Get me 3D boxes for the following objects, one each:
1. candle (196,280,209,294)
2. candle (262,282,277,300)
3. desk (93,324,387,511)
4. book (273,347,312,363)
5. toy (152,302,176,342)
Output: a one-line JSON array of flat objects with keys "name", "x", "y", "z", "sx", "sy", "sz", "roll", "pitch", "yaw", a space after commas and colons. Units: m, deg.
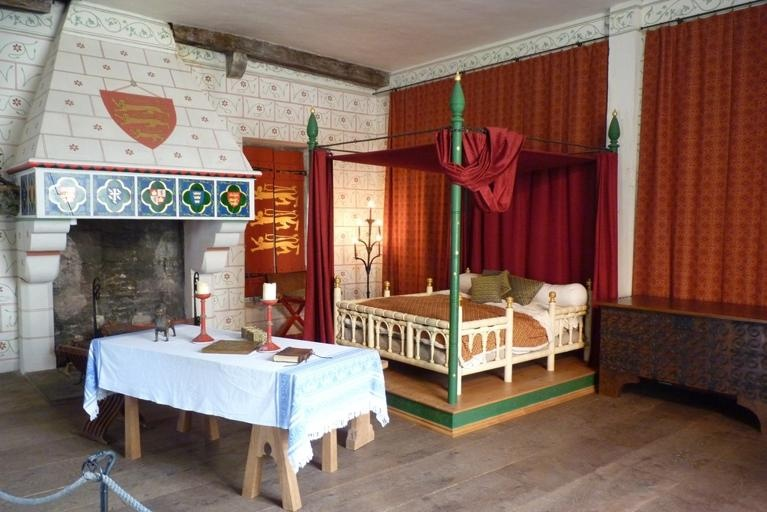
[{"name": "candle", "x": -1.738, "y": 0.306, "z": 5.428, "sx": 0.112, "sy": 0.096, "sz": 0.107, "roll": 3, "pitch": 8, "yaw": -6}, {"name": "candle", "x": -1.051, "y": 0.342, "z": 5.182, "sx": 0.107, "sy": 0.162, "sz": 0.084, "roll": -2, "pitch": 4, "yaw": -2}, {"name": "desk", "x": -1.340, "y": 1.472, "z": 5.306, "sx": 2.555, "sy": 1.412, "sz": 0.923, "roll": -1, "pitch": 4, "yaw": 21}, {"name": "book", "x": -0.801, "y": 0.888, "z": 5.003, "sx": 0.272, "sy": 0.093, "sz": 0.291, "roll": -1, "pitch": 3, "yaw": 24}, {"name": "toy", "x": -2.173, "y": 0.675, "z": 5.602, "sx": 0.131, "sy": 0.322, "sz": 0.368, "roll": -4, "pitch": -7, "yaw": -4}]
